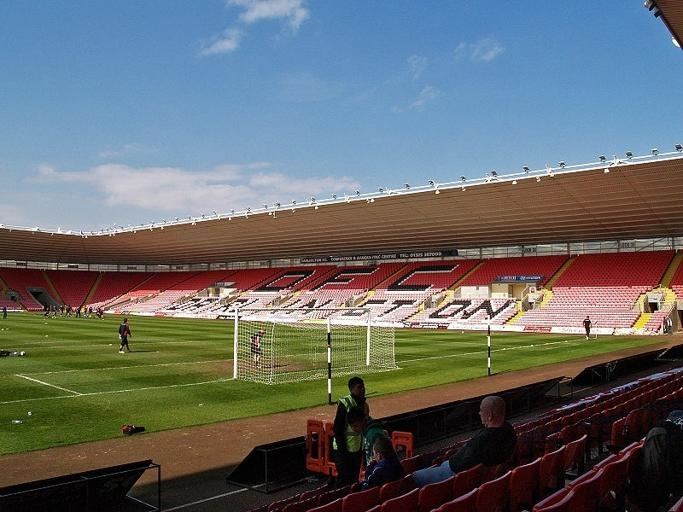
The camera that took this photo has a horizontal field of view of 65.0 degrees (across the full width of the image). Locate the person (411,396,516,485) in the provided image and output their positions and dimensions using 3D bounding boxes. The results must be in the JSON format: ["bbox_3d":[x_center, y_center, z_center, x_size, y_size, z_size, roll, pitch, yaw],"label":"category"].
[{"bbox_3d":[1.413,2.108,6.153,1.100,1.017,0.386,-3,-10,10],"label":"person"}]

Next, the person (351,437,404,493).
[{"bbox_3d":[0.349,2.352,6.096,0.485,0.628,0.498,-9,-11,38],"label":"person"}]

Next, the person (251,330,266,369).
[{"bbox_3d":[-3.198,3.483,20.136,0.461,1.210,1.433,-1,-8,-9],"label":"person"}]

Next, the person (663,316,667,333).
[{"bbox_3d":[22.421,4.755,37.320,0.254,0.954,0.723,-9,-11,33],"label":"person"}]
